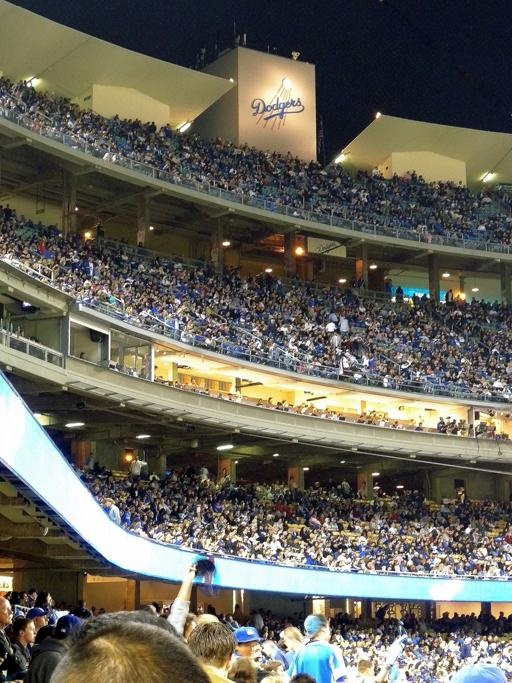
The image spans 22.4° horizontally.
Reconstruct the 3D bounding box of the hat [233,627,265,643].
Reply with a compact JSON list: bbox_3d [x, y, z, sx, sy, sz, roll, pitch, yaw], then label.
[{"bbox_3d":[-0.109,2.867,12.709,0.294,0.155,0.403,4,-9,-37],"label":"hat"}]

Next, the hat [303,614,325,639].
[{"bbox_3d":[0.600,3.007,13.814,0.194,0.243,0.250,11,9,15],"label":"hat"}]

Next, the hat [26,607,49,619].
[{"bbox_3d":[-2.499,3.053,14.645,0.197,0.107,0.133,-17,3,-14],"label":"hat"}]
